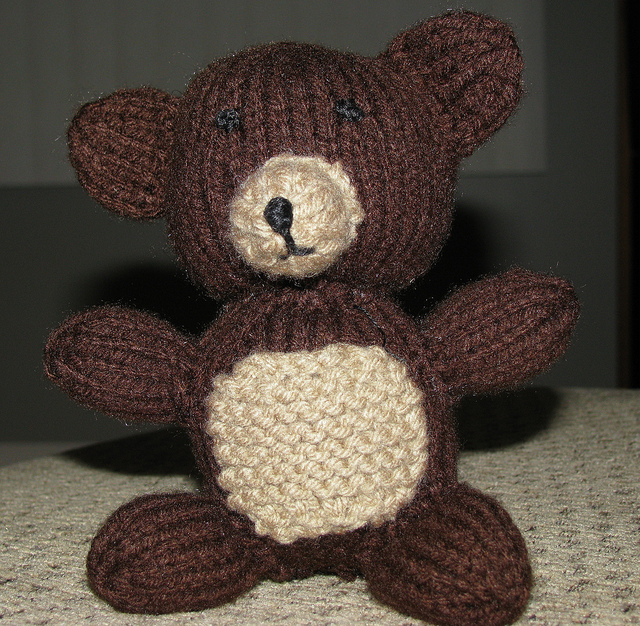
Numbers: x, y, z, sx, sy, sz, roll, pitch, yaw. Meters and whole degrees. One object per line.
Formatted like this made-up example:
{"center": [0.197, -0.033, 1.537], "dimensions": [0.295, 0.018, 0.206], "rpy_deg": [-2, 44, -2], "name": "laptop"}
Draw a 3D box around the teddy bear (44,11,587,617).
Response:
{"center": [-0.011, -0.007, 0.880], "dimensions": [0.460, 0.497, 0.277], "rpy_deg": [0, 13, 14], "name": "teddy bear"}
